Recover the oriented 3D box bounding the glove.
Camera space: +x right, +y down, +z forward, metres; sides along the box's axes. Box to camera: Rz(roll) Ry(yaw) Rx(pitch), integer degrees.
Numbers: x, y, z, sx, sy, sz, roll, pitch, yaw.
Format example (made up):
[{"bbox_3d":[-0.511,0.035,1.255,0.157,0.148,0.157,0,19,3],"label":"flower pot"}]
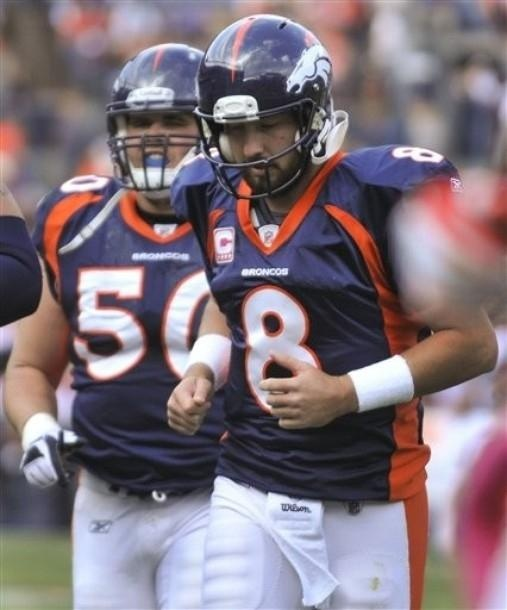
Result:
[{"bbox_3d":[-0.534,0.388,2.663,0.161,0.096,0.185,-23,61,27],"label":"glove"}]
